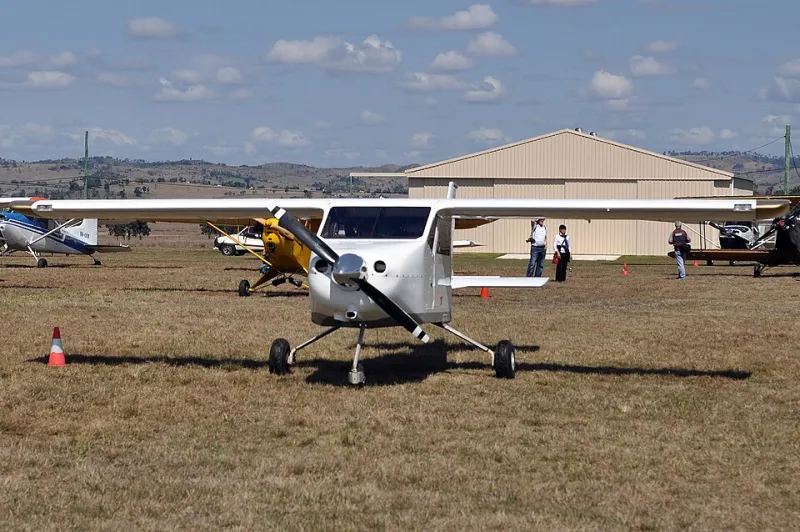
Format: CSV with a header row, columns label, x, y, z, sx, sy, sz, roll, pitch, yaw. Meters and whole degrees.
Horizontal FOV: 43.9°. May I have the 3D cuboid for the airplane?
label,x,y,z,sx,sy,sz,roll,pitch,yaw
airplane,-0.141,0.254,15.067,10.717,2.704,3.705,2,5,17

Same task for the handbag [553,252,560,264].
label,x,y,z,sx,sy,sz,roll,pitch,yaw
handbag,4.237,-0.200,26.893,0.188,0.227,0.257,-3,-4,42
